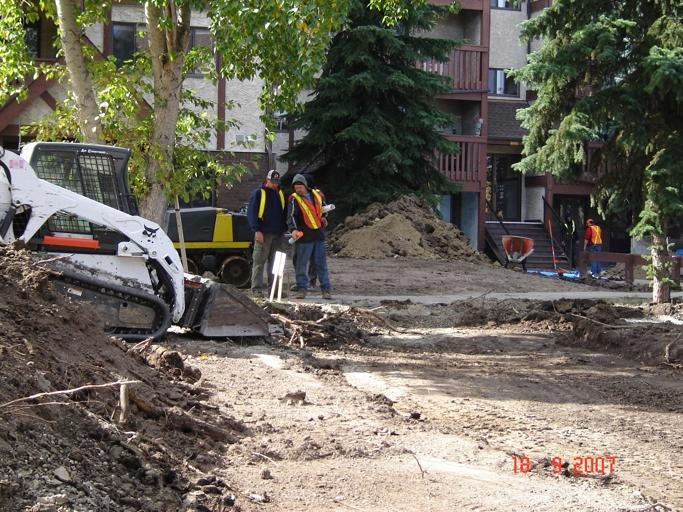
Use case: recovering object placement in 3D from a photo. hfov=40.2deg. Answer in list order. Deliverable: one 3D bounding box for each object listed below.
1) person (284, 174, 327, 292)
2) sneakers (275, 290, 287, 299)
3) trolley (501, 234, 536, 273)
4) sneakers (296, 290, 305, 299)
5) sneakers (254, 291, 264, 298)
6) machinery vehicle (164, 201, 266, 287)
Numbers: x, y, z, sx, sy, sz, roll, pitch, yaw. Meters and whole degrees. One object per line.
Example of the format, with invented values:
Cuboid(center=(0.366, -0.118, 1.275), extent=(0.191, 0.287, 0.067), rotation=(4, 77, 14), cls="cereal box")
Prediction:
Cuboid(center=(-0.575, -0.343, 16.238), extent=(0.671, 2.073, 1.036), rotation=(-1, 0, 4), cls="person")
Cuboid(center=(-1.001, 0.622, 15.481), extent=(0.095, 0.098, 0.396), rotation=(12, 0, 12), cls="sneakers")
Cuboid(center=(4.958, -0.088, 26.364), extent=(0.942, 1.003, 0.875), rotation=(6, 2, 0), cls="trolley")
Cuboid(center=(-0.718, 0.656, 16.352), extent=(0.143, 0.136, 0.328), rotation=(2, 2, 1), cls="sneakers")
Cuboid(center=(-1.412, 0.628, 15.848), extent=(0.122, 0.112, 0.114), rotation=(1, -9, -4), cls="sneakers")
Cuboid(center=(-2.698, -0.264, 17.599), extent=(1.902, 1.467, 1.166), rotation=(3, 11, -36), cls="machinery vehicle")
